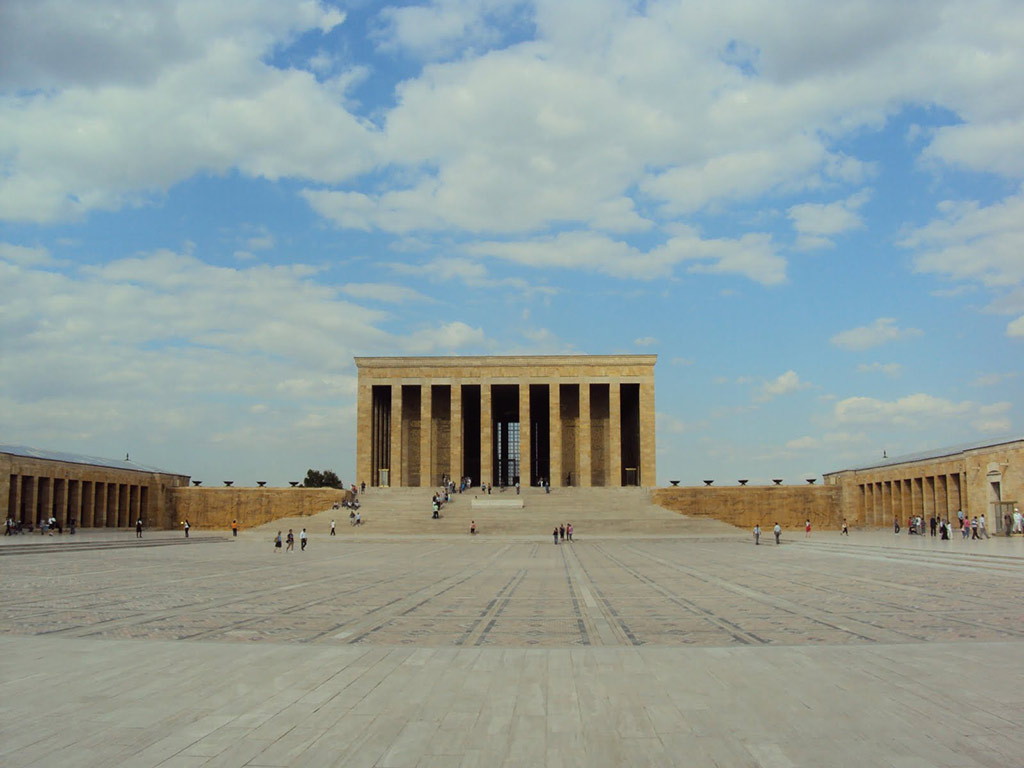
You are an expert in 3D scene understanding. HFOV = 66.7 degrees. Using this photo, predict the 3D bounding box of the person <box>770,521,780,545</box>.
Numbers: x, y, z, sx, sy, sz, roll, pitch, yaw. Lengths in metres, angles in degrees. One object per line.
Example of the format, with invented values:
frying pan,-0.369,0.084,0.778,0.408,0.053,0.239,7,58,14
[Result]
person,13.260,7.464,38.935,0.337,0.938,1.567,-4,-9,16

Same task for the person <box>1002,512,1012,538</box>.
person,23.834,6.678,37.358,0.358,1.072,0.949,-6,-10,29
